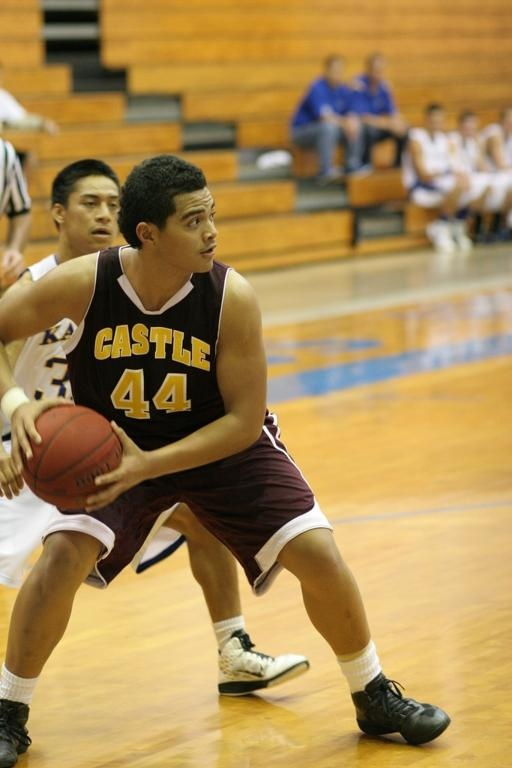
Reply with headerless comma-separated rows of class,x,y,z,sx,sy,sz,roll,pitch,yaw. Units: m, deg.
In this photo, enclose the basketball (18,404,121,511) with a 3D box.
basketball,-0.278,0.117,1.193,0.172,0.172,0.161,1,2,29
